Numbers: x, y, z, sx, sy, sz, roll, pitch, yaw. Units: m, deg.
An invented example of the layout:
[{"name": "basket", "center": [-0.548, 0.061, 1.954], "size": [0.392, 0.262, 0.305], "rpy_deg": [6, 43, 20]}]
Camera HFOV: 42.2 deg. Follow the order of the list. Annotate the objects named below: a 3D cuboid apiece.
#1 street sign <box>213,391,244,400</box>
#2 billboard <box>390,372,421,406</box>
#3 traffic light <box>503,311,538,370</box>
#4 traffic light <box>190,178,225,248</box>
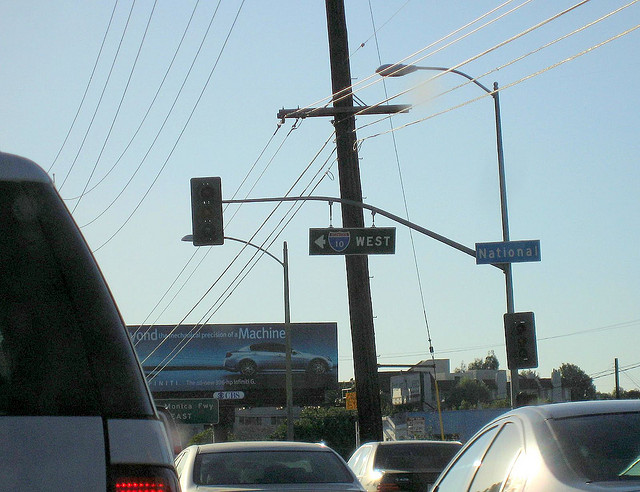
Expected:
[{"name": "street sign", "center": [-6.143, 10.040, 56.580], "size": [2.104, 0.568, 0.544], "rpy_deg": [-7, -12, 12]}, {"name": "billboard", "center": [13.160, 21.509, 125.931], "size": [0.655, 4.221, 6.462], "rpy_deg": [8, -19, -36]}, {"name": "traffic light", "center": [4.091, 1.877, 16.820], "size": [0.533, 1.158, 0.502], "rpy_deg": [-3, 17, 18]}, {"name": "traffic light", "center": [-2.310, -0.725, 17.131], "size": [0.606, 1.584, 0.159], "rpy_deg": [-2, 30, -8]}]
